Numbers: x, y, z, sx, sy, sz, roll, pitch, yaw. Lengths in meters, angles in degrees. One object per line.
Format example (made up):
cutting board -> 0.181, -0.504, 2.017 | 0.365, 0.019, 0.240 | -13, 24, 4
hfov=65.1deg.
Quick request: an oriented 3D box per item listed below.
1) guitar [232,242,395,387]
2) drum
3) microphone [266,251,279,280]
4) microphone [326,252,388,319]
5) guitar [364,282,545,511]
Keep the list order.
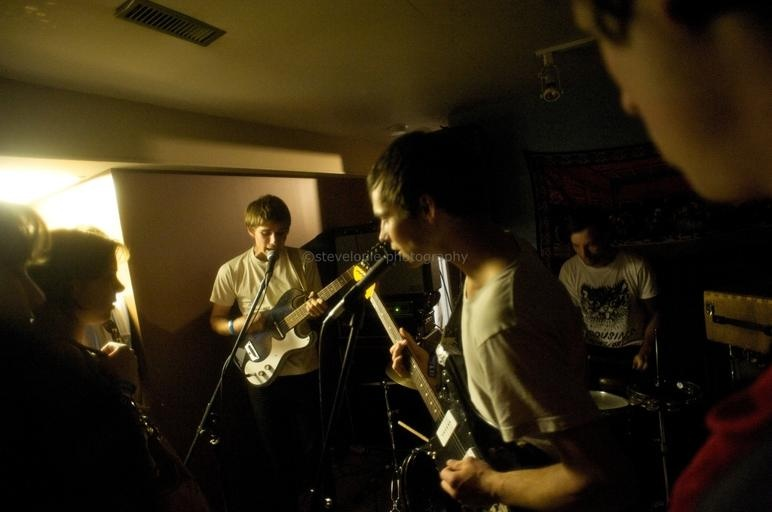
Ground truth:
guitar -> -0.488, 0.340, 3.869 | 1.230, 0.482, 0.142 | -40, -27, 15
drum -> 1.440, 0.811, 3.167 | 0.253, 0.274, 0.251 | -14, -9, -39
microphone -> -0.685, 0.082, 3.623 | 0.070, 0.092, 0.228 | 10, -49, -15
microphone -> -0.157, 0.166, 3.000 | 0.065, 0.446, 0.180 | -31, -15, -3
guitar -> 0.304, 0.680, 2.849 | 0.486, 1.095, 1.097 | -26, -35, 1
